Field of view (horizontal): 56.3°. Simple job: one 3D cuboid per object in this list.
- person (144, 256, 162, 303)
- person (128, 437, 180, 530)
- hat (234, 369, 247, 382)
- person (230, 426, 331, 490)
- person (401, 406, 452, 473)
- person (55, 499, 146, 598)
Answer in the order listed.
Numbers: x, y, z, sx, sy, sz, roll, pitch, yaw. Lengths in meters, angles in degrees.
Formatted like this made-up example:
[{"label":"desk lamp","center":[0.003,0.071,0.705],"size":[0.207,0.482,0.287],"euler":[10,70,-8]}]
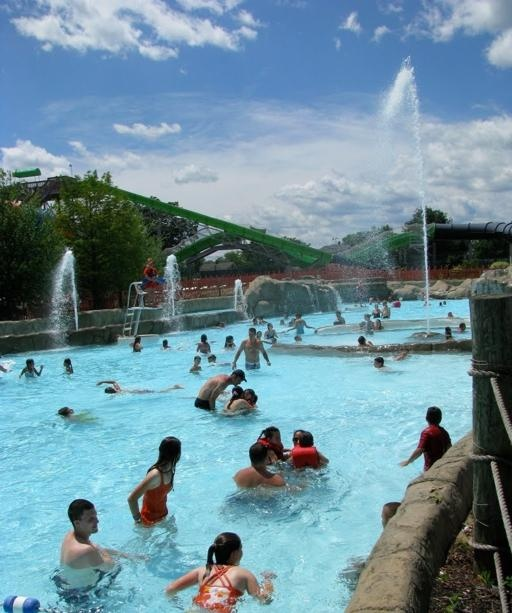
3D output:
[{"label":"person","center":[-4.512,-1.318,20.391],"size":[0.986,1.483,0.778],"euler":[17,24,34]},{"label":"person","center":[-1.053,1.887,5.020],"size":[0.441,1.226,0.542],"euler":[8,30,3]},{"label":"hat","center":[-0.304,1.297,8.970],"size":[0.204,0.235,0.397],"euler":[-4,-1,-6]},{"label":"person","center":[0.311,1.761,5.577],"size":[1.101,0.471,0.473],"euler":[-3,2,-42]},{"label":"person","center":[1.837,1.389,4.948],"size":[0.327,0.661,0.397],"euler":[-4,0,-15]},{"label":"person","center":[-1.272,1.784,3.696],"size":[0.485,0.711,0.406],"euler":[-4,-1,-35]}]
